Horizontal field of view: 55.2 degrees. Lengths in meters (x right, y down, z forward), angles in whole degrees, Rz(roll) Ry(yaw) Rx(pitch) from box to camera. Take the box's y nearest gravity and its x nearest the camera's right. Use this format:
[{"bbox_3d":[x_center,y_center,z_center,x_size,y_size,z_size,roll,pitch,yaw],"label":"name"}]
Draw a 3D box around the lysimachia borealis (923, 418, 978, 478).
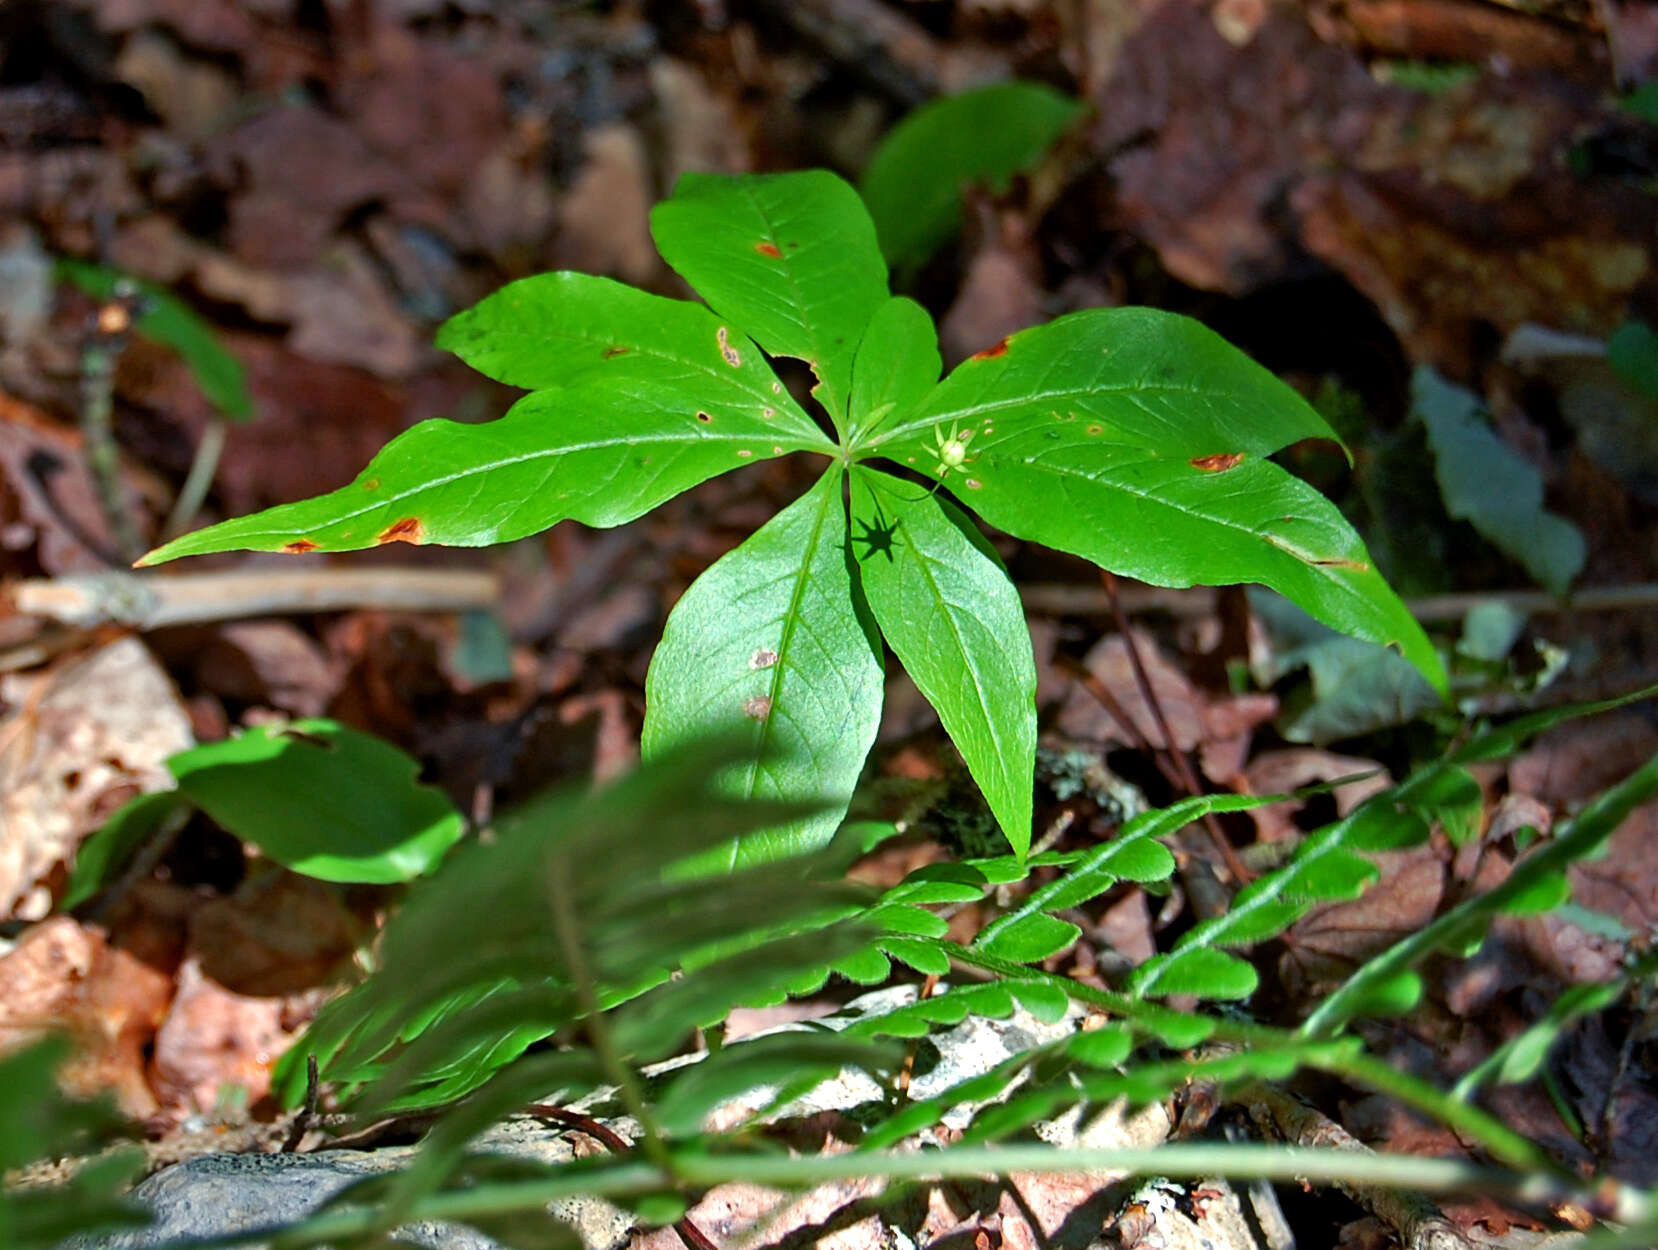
[{"bbox_3d":[0.217,-0.305,2.715,0.086,0.039,0.093,1,68,5],"label":"lysimachia borealis"}]
